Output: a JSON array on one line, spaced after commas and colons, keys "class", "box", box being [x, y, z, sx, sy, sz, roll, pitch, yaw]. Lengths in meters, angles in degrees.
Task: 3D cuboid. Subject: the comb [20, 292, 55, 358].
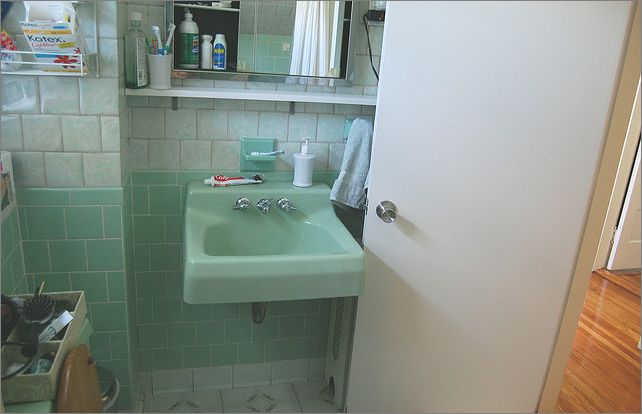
[{"class": "comb", "box": [-0.982, 0.407, 1.692, 0.097, 0.086, 0.214, -9, 32, -8]}]

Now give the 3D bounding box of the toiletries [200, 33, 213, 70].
[{"class": "toiletries", "box": [-0.540, -0.734, 2.269, 0.057, 0.160, 0.025, 3, 21, 2]}]

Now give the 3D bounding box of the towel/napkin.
[{"class": "towel/napkin", "box": [0.146, -0.203, 2.304, 0.179, 0.411, 0.144, 4, 21, 4]}]

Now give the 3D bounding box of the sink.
[{"class": "sink", "box": [-0.221, 0.110, 2.235, 0.657, 0.259, 0.579, 0, 21, -14]}]

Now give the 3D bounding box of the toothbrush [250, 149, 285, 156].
[{"class": "toothbrush", "box": [-0.265, -0.273, 2.413, 0.178, 0.035, 0.102, -2, 21, -10]}]

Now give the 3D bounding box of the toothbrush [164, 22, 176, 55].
[{"class": "toothbrush", "box": [-0.685, -0.757, 2.181, 0.035, 0.209, 0.032, 7, 4, -10]}]

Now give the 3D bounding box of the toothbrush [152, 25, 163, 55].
[{"class": "toothbrush", "box": [-0.737, -0.758, 2.172, 0.044, 0.121, 0.150, -5, 22, -18]}]

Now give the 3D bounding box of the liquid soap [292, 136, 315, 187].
[{"class": "liquid soap", "box": [-0.083, -0.231, 2.446, 0.115, 0.240, 0.116, -6, 21, -33]}]

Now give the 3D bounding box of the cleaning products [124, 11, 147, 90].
[{"class": "cleaning products", "box": [-0.836, -0.701, 2.152, 0.099, 0.317, 0.097, 13, 23, 12]}]

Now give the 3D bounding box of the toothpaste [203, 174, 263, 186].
[{"class": "toothpaste", "box": [-0.451, -0.134, 2.395, 0.262, 0.065, 0.047, -2, -10, -18]}]

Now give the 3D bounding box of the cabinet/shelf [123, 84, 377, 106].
[{"class": "cabinet/shelf", "box": [-0.306, -0.527, 2.314, 1.207, 0.083, 0.175, -1, 21, -9]}]
